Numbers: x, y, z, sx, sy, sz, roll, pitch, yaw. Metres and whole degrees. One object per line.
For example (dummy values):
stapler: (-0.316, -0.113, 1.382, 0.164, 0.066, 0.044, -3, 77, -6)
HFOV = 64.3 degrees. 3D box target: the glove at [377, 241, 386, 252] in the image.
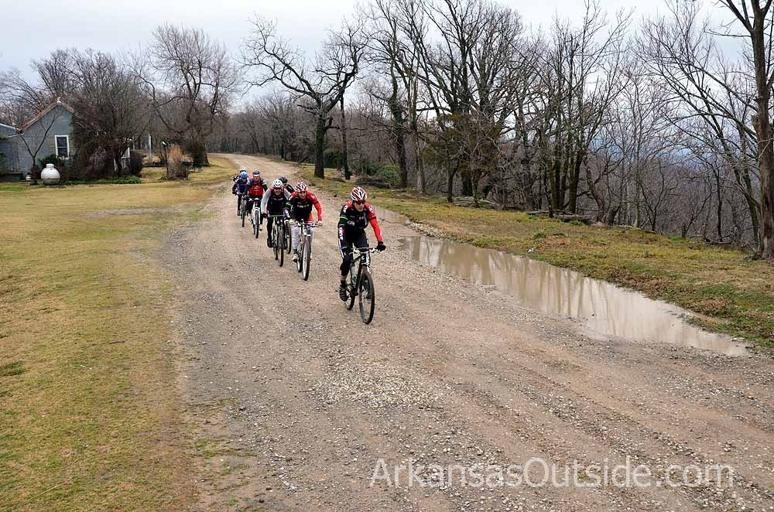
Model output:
glove: (-0.179, -0.272, 16.869, 0.255, 0.281, 0.165, -2, 1, 10)

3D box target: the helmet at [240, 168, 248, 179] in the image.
helmet: (-6.555, -3.751, 28.024, 0.321, 0.230, 0.475, 4, 15, -23)

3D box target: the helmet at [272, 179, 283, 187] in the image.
helmet: (-3.944, -2.587, 22.115, 0.346, 0.291, 0.454, 2, 9, -6)

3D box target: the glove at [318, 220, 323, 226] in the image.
glove: (-2.100, -1.018, 19.291, 0.127, 0.137, 0.145, 2, -2, -15)

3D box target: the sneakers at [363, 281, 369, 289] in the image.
sneakers: (-0.600, 0.811, 17.199, 0.194, 0.271, 0.651, -1, 0, -1)
